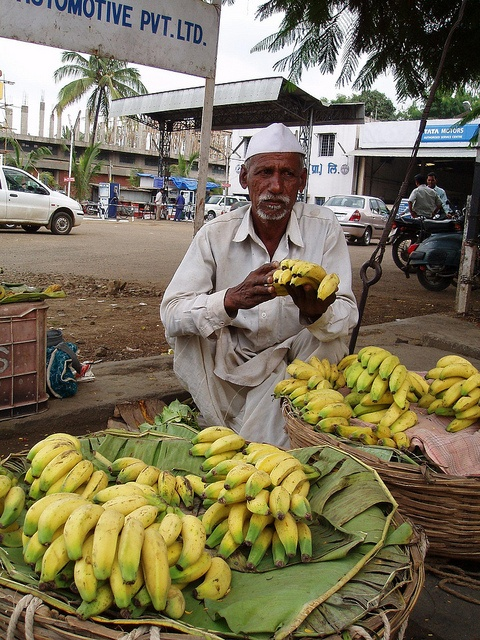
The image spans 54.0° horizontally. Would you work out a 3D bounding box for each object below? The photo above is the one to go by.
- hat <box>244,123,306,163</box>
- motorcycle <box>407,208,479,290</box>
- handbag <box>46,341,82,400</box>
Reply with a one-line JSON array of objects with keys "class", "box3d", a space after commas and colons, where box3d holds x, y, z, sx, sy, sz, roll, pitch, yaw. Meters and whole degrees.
[{"class": "hat", "box3d": [0.192, -0.950, 2.494, 0.237, 0.124, 0.233, -18, 24, -14]}, {"class": "motorcycle", "box3d": [3.634, -1.124, 8.512, 1.090, 1.458, 1.524, 10, 16, 17]}, {"class": "handbag", "box3d": [-1.199, 0.347, 3.176, 0.130, 0.323, 0.252, -3, 7, -15]}]
